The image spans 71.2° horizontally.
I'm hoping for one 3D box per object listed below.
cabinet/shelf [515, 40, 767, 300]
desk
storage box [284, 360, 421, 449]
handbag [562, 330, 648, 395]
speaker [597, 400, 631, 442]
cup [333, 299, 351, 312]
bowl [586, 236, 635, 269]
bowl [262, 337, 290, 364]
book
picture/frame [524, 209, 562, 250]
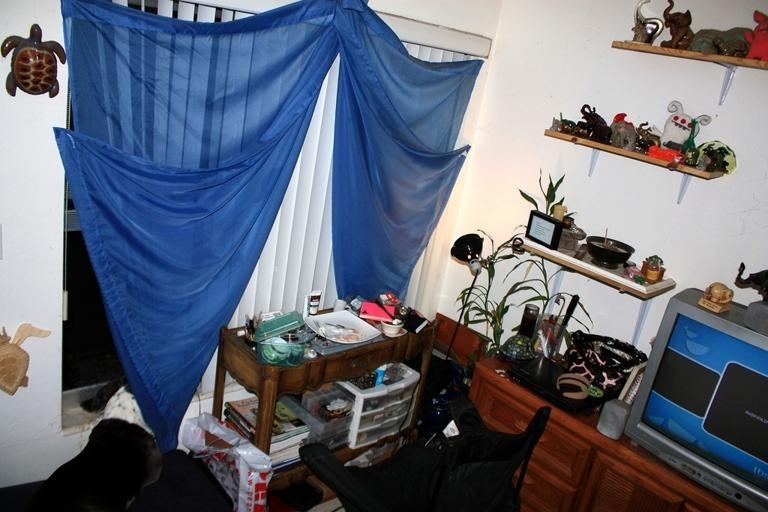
[{"bbox_3d":[1.525,-0.552,3.367,0.760,0.902,1.448,-5,29,-44],"label":"cabinet/shelf"},{"bbox_3d":[-0.388,0.911,3.553,1.291,1.038,0.581,-6,22,-42],"label":"desk"},{"bbox_3d":[-0.164,0.989,3.428,0.770,0.393,0.554,-14,21,-42],"label":"storage box"},{"bbox_3d":[1.348,0.641,3.332,0.400,0.192,0.334,9,12,-40],"label":"handbag"},{"bbox_3d":[1.323,0.949,3.082,0.143,0.249,0.130,23,25,36],"label":"speaker"},{"bbox_3d":[-0.277,0.313,3.490,0.078,0.064,0.084,5,9,-1],"label":"cup"},{"bbox_3d":[1.427,-0.020,3.433,0.293,0.148,0.303,8,16,-2],"label":"bowl"},{"bbox_3d":[-0.602,0.519,2.938,0.128,0.137,0.044,-3,9,-4],"label":"bowl"},{"bbox_3d":[-0.680,1.026,3.190,0.443,0.154,0.364,0,15,-45],"label":"book"},{"bbox_3d":[1.048,-0.173,3.519,0.067,0.190,0.208,-19,38,-33],"label":"picture/frame"}]
